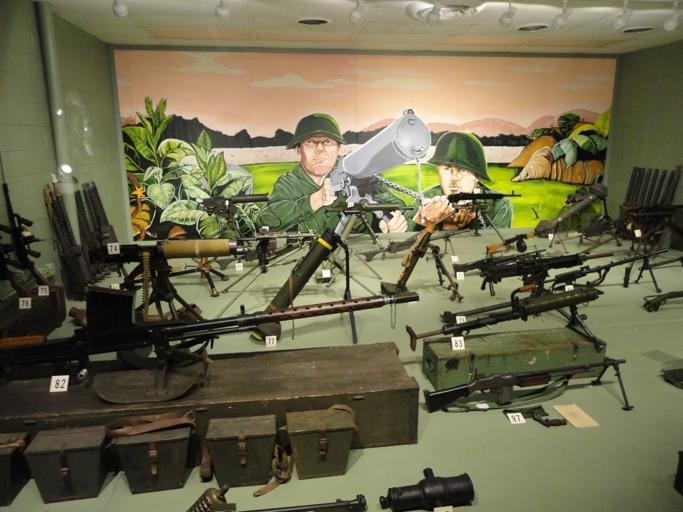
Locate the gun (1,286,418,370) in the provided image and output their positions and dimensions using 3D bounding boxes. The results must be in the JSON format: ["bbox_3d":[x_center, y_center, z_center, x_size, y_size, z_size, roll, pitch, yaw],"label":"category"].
[{"bbox_3d":[-1.479,0.831,6.180,4.848,0.692,0.492,-7,1,-9],"label":"gun"}]
